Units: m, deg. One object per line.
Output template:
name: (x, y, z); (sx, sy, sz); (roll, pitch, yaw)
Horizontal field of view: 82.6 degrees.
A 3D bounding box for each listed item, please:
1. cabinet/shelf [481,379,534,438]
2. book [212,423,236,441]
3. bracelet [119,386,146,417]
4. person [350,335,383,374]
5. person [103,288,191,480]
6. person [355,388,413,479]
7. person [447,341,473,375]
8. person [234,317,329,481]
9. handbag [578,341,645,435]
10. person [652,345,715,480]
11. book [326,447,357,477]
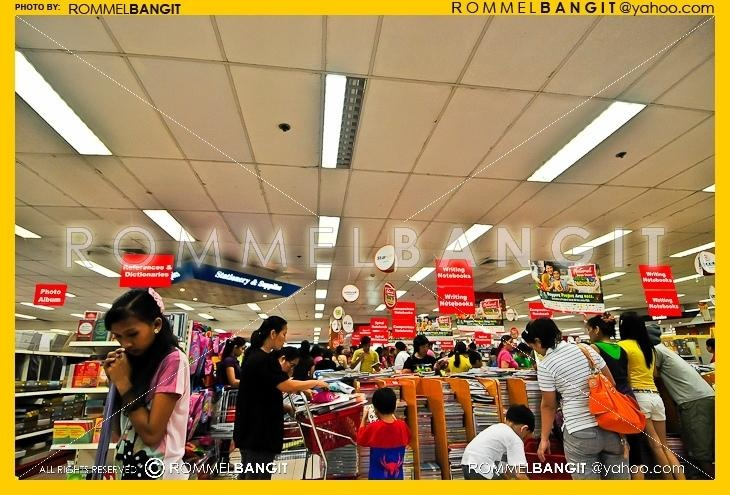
cabinet/shelf: (1.402, 1.565, 4.133); (0.369, 0.461, 0.476); (1, -15, 2)
book: (-1.365, 1.747, 3.939); (0.191, 0.102, 0.403); (3, -20, -19)
bracelet: (-1.343, 0.894, 2.470); (0.159, 0.149, 0.140); (-16, -35, -22)
person: (-0.014, 2.048, 7.894); (0.490, 0.638, 1.349); (-3, -19, -3)
person: (-1.334, 0.837, 2.516); (0.491, 1.112, 0.434); (6, -22, -24)
person: (0.128, 1.497, 3.348); (0.381, 0.685, 0.346); (-7, -20, 9)
person: (1.456, 1.713, 6.518); (0.384, 0.504, 1.549); (-8, -19, 12)
person: (-0.788, 1.164, 3.326); (0.756, 1.182, 0.517); (-20, -26, 38)
handbag: (1.977, 1.159, 3.354); (0.518, 0.717, 0.337); (28, -46, -33)
person: (2.913, 1.364, 3.723); (0.368, 0.977, 0.414); (-15, -23, 29)
book: (-0.197, 1.854, 3.581); (0.316, 0.283, 0.071); (-1, -5, -6)
